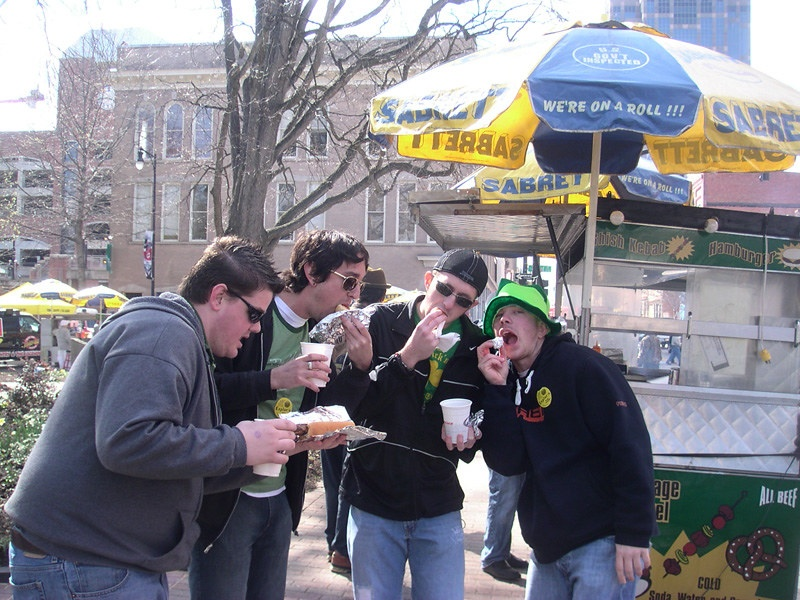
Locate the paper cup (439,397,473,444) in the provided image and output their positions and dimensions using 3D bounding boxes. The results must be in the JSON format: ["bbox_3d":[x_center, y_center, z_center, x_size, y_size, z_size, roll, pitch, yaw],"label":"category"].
[{"bbox_3d":[0.395,0.810,6.254,0.272,0.292,0.273,-5,2,0],"label":"paper cup"}]

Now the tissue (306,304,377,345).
[{"bbox_3d":[-0.417,0.175,6.282,0.546,0.191,0.174,-27,14,-26],"label":"tissue"}]

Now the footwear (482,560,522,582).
[{"bbox_3d":[0.956,2.476,8.436,0.288,0.117,0.154,-3,-2,26],"label":"footwear"}]

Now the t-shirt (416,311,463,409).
[{"bbox_3d":[0.391,0.418,6.495,0.272,0.367,0.509,-1,32,17],"label":"t-shirt"}]

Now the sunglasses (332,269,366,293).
[{"bbox_3d":[-0.328,-0.153,6.369,0.155,0.058,0.158,17,-3,30],"label":"sunglasses"}]

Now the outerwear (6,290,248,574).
[{"bbox_3d":[-1.667,0.809,5.896,1.646,1.484,1.502,12,-4,-16],"label":"outerwear"}]

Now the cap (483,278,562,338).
[{"bbox_3d":[0.858,0.013,6.474,0.374,0.234,0.514,-7,-33,34],"label":"cap"}]

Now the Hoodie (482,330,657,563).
[{"bbox_3d":[1.136,0.990,6.181,1.128,1.526,0.318,0,-2,33],"label":"Hoodie"}]
